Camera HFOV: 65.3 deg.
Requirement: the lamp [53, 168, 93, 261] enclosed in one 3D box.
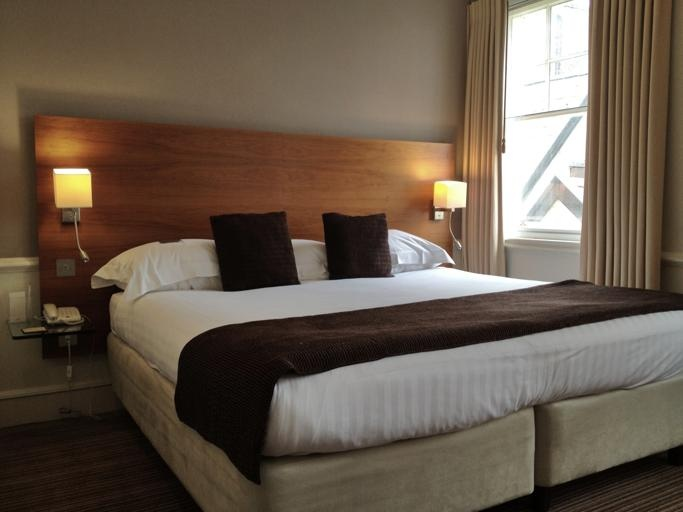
[{"bbox_3d":[-1.712,-0.257,3.447,0.235,0.618,0.202,-6,11,-27],"label":"lamp"}]
